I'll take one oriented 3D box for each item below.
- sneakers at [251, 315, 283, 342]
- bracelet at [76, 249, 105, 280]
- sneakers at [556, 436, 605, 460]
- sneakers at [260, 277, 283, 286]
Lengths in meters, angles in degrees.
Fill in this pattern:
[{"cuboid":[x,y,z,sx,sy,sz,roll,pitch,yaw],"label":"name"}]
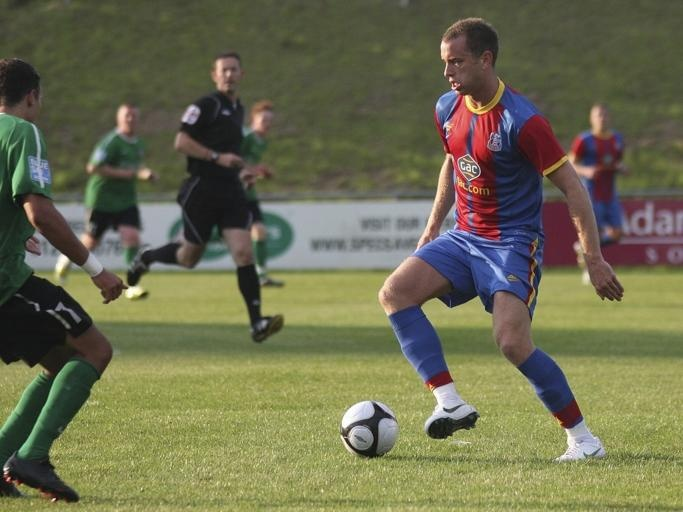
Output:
[{"cuboid":[-0.707,0.683,13.232,0.304,0.281,0.237,1,13,-1],"label":"sneakers"},{"cuboid":[-2.000,0.082,11.185,0.198,0.156,0.209,38,-14,-19],"label":"bracelet"},{"cuboid":[2.026,1.625,11.658,0.498,0.189,0.159,-5,-5,-8],"label":"sneakers"},{"cuboid":[-0.825,0.320,16.409,0.297,0.104,0.093,1,4,-3],"label":"sneakers"}]
